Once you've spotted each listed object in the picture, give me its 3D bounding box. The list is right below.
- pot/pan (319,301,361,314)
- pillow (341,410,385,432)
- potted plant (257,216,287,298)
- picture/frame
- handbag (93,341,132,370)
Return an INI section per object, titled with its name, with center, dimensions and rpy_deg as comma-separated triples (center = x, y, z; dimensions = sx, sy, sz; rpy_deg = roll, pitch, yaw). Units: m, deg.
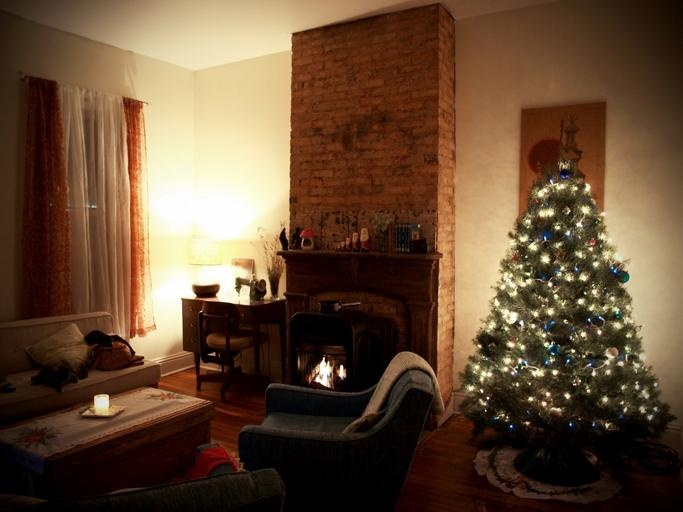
[pot/pan]
center = -0.040, 0.456, 4.987
dimensions = 0.262, 0.101, 0.154
rpy_deg = 2, 2, 23
[pillow]
center = 0.161, 1.023, 3.444
dimensions = 0.164, 0.050, 0.158
rpy_deg = -25, -10, 38
[potted plant]
center = -0.732, 0.032, 6.143
dimensions = 0.278, 0.776, 0.442
rpy_deg = -5, 12, -15
[picture/frame]
center = 1.938, -0.863, 4.906
dimensions = 0.711, 0.961, 0.239
rpy_deg = 2, 12, 17
[handbag]
center = -2.033, 0.917, 5.052
dimensions = 0.171, 0.271, 0.273
rpy_deg = -14, -12, 34
